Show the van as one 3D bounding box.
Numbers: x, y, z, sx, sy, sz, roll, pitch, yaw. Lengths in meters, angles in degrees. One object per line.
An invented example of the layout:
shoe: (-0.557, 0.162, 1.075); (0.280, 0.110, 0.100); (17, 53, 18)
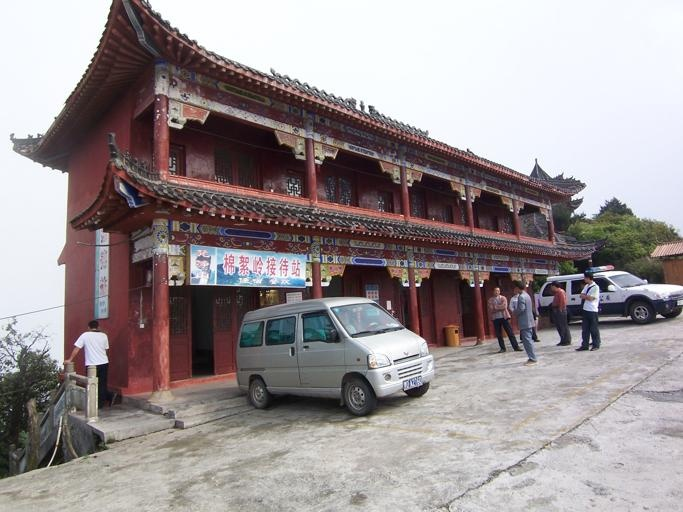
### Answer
van: (-0.203, 2.244, 11.149); (3.936, 2.003, 2.332); (-13, -15, 38)
